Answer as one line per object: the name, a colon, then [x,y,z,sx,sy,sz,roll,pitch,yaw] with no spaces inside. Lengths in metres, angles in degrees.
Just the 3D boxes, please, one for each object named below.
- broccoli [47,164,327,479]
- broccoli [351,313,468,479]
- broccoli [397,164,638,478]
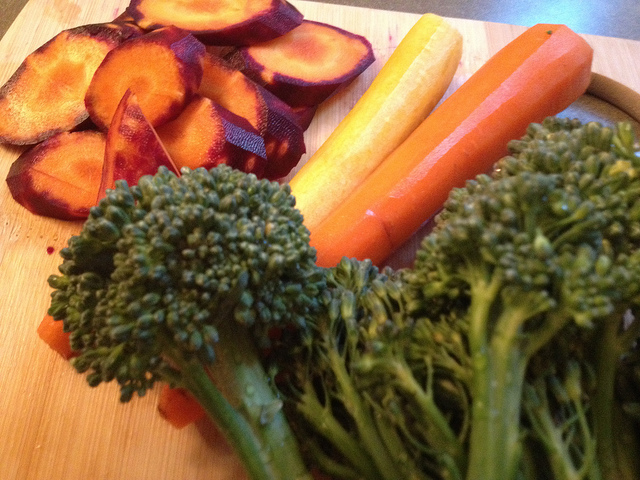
broccoli: [-0.342,0.134,1.432,0.463,0.455,0.741,-27,63,-33]
broccoli: [0.178,0.309,1.367,0.181,0.214,0.381,-24,49,-14]
broccoli: [0.401,0.139,1.289,0.450,0.522,0.307,39,25,11]
